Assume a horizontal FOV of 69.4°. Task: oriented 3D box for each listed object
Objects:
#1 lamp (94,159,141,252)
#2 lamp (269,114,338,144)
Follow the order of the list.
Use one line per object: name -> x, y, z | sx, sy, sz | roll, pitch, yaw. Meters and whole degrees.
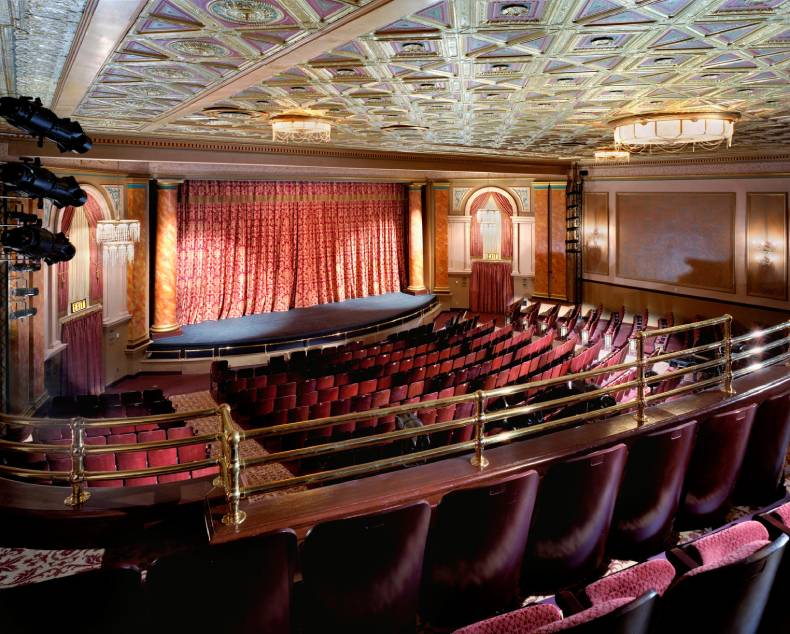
lamp -> -5.413, -2.192, 11.368 | 0.824, 1.552, 2.023 | -4, 7, -18
lamp -> -1.409, -2.619, 7.850 | 0.668, 0.106, 0.605 | 3, 6, 29
